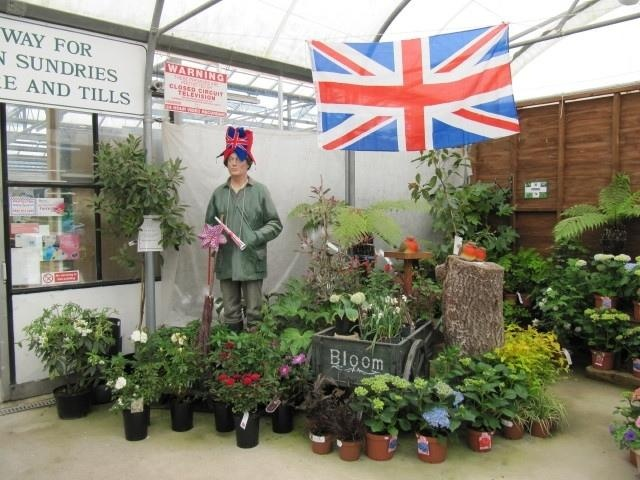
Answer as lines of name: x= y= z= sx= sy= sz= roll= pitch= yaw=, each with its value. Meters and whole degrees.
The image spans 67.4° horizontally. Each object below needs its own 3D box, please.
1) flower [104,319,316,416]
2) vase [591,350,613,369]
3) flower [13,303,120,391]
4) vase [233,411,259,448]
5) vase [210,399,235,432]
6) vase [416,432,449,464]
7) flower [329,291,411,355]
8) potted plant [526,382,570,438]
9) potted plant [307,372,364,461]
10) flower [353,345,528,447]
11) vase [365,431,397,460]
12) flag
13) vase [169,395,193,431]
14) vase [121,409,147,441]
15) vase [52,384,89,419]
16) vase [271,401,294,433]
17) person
flower: x=-0.928 y=1.139 z=4.288 sx=1.139 sy=0.421 sz=1.090 roll=1 pitch=4 yaw=15
vase: x=3.070 y=1.305 z=5.240 sx=0.196 sy=0.142 sz=0.191 roll=4 pitch=-4 yaw=-35
flower: x=-2.512 y=0.722 z=4.846 sx=0.839 sy=1.060 sz=1.093 roll=-3 pitch=9 yaw=-38
vase: x=-0.583 y=1.580 z=4.069 sx=0.268 sy=0.284 sz=0.264 roll=0 pitch=-5 yaw=-7
vase: x=-0.827 y=1.566 z=4.355 sx=0.250 sy=0.284 sz=0.248 roll=-1 pitch=1 yaw=-4
vase: x=0.884 y=1.636 z=3.760 sx=0.224 sy=0.142 sz=0.221 roll=1 pitch=-8 yaw=-16
flower: x=0.512 y=0.679 z=4.441 sx=0.883 sy=0.444 sz=0.599 roll=-10 pitch=14 yaw=-41
potted plant: x=1.975 y=1.465 z=4.268 sx=0.421 sy=0.421 sz=0.415 roll=3 pitch=-6 yaw=-16
potted plant: x=0.095 y=1.421 z=4.109 sx=0.496 sy=0.649 sz=0.652 roll=4 pitch=-7 yaw=-17
flower: x=0.993 y=1.265 z=3.853 sx=1.063 sy=0.486 sz=0.788 roll=-2 pitch=20 yaw=-3
vase: x=0.484 y=1.621 z=3.798 sx=0.210 sy=0.130 sz=0.215 roll=-1 pitch=-5 yaw=26
flag: x=0.920 y=-1.579 z=4.933 sx=1.743 sy=1.067 sz=0.097 roll=-4 pitch=-1 yaw=8
vase: x=-1.230 y=1.555 z=4.426 sx=0.283 sy=0.302 sz=0.247 roll=-1 pitch=5 yaw=-10
vase: x=-1.623 y=1.591 z=4.243 sx=0.255 sy=0.239 sz=0.225 roll=0 pitch=3 yaw=-29
vase: x=-2.396 y=1.522 z=4.629 sx=0.305 sy=0.223 sz=0.297 roll=0 pitch=0 yaw=-42
vase: x=-0.367 y=1.570 z=4.288 sx=0.228 sy=0.252 sz=0.237 roll=0 pitch=-4 yaw=0
person: x=-0.787 y=-0.079 z=4.998 sx=0.695 sy=2.143 sz=0.540 roll=-6 pitch=12 yaw=-27
